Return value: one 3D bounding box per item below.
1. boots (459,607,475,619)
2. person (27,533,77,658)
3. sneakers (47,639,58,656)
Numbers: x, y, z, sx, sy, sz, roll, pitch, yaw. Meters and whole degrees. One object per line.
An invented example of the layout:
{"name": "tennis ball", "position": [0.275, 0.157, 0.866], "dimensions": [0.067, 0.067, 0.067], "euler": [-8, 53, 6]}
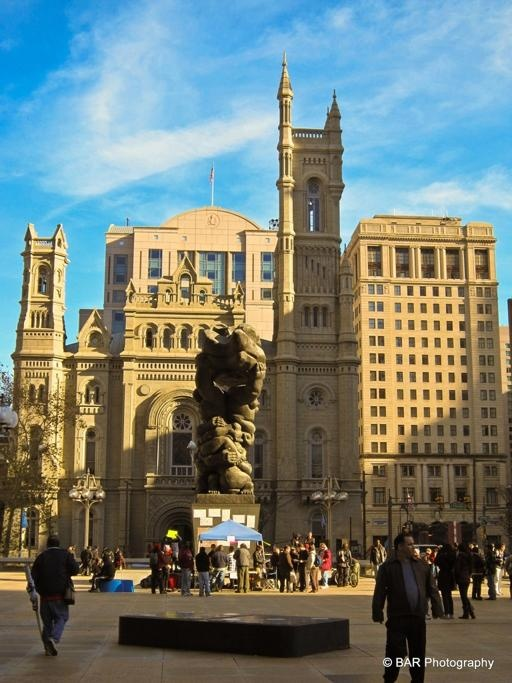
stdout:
{"name": "boots", "position": [3.948, 5.032, 18.509], "dimensions": [0.230, 0.286, 0.557], "euler": [-1, -10, 11]}
{"name": "person", "position": [-2.564, 3.173, 12.466], "dimensions": [0.591, 1.393, 1.550], "euler": [3, -10, -10]}
{"name": "sneakers", "position": [-2.402, 3.627, 11.693], "dimensions": [0.099, 0.197, 0.091], "euler": [-11, 4, -11]}
